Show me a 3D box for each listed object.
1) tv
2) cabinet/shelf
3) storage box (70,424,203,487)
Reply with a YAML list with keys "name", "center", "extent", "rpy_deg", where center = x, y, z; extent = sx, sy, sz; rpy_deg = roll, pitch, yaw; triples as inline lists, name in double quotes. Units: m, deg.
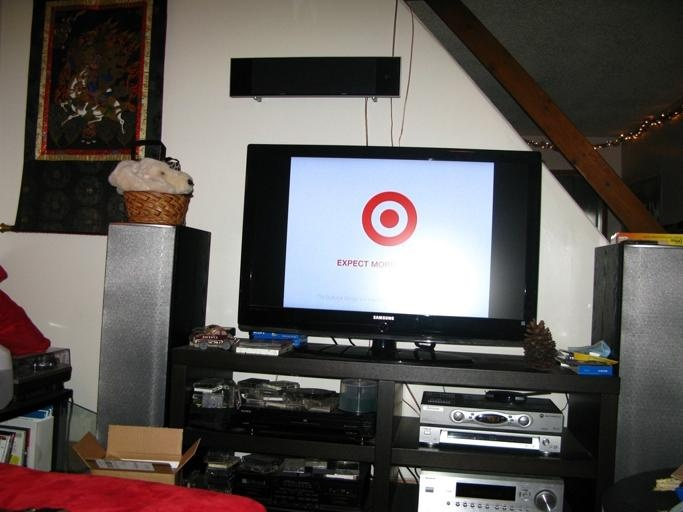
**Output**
- name: "tv"
  center: [0.262, -0.004, 3.167]
  extent: [1.038, 0.750, 0.277]
  rpy_deg: [2, -4, 3]
- name: "cabinet/shelf"
  center: [0.275, 0.846, 3.049]
  extent: [2.008, 0.750, 0.314]
  rpy_deg: [4, -2, 5]
- name: "storage box"
  center: [-0.903, 0.880, 2.808]
  extent: [0.506, 0.212, 0.276]
  rpy_deg: [4, -2, 6]
